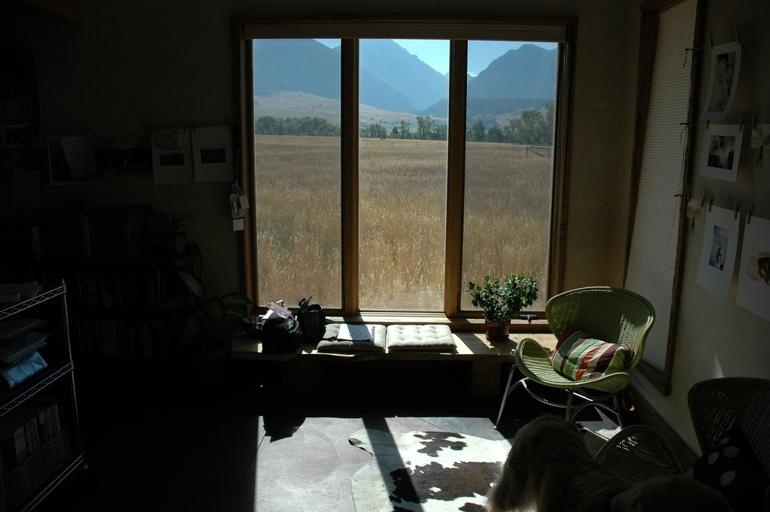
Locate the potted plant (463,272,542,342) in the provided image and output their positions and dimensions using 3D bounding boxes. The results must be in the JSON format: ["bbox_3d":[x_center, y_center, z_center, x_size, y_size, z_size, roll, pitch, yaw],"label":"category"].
[{"bbox_3d":[0.973,0.454,4.511,0.506,0.519,0.372,3,3,17],"label":"potted plant"}]

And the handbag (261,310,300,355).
[{"bbox_3d":[-0.917,0.673,4.505,0.342,0.407,0.446,1,-17,3],"label":"handbag"}]

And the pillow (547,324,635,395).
[{"bbox_3d":[1.469,0.740,3.904,0.328,0.260,0.715,-18,10,-14],"label":"pillow"}]

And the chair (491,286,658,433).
[{"bbox_3d":[1.391,0.786,3.810,0.865,1.129,0.862,1,7,-36],"label":"chair"}]
